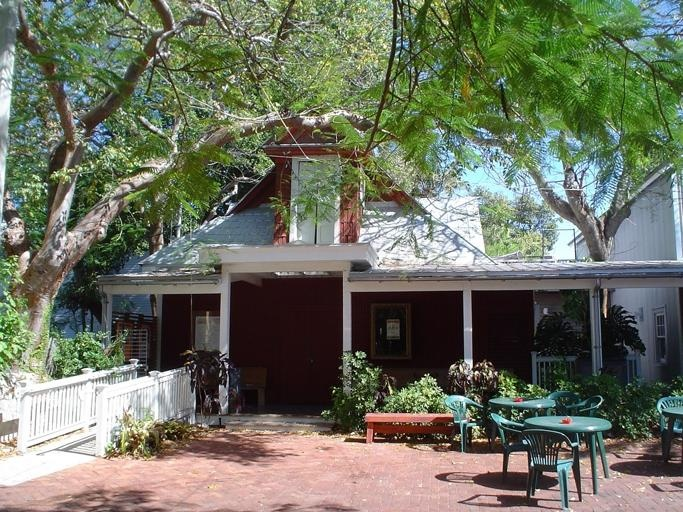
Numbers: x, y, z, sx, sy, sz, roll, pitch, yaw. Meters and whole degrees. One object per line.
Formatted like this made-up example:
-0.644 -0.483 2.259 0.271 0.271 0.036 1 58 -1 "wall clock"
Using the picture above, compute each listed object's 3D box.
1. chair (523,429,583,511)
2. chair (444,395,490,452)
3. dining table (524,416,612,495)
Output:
3.152 2.946 8.505 0.736 0.980 2.109 -1 -6 23 "chair"
2.565 3.403 11.712 0.999 1.345 0.970 9 -18 -32 "chair"
3.629 3.096 8.634 1.127 0.906 1.175 -1 -6 -8 "dining table"
